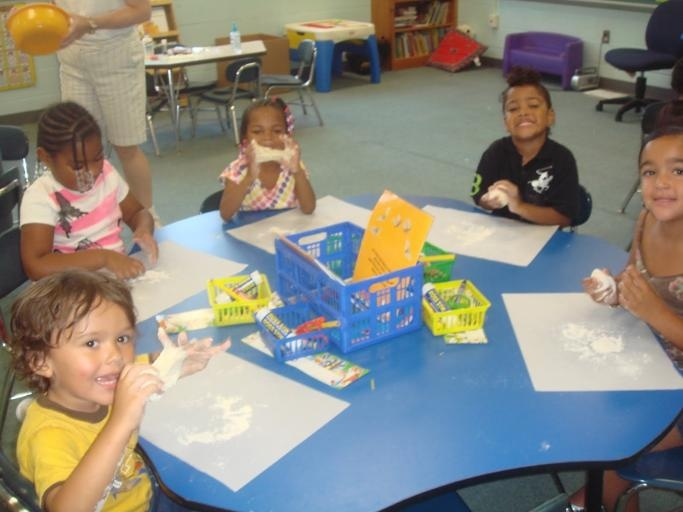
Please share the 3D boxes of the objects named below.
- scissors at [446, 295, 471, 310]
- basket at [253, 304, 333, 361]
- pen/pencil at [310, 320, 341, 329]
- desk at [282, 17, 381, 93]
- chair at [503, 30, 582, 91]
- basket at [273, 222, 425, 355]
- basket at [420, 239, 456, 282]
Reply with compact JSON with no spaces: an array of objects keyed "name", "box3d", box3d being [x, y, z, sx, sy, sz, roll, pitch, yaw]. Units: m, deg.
[{"name":"scissors","box3d":[0.334,0.129,1.627,0.040,0.020,0.050,-3,26,6]},{"name":"basket","box3d":[-0.139,0.162,1.500,0.136,0.058,0.172,-13,27,-24]},{"name":"pen/pencil","box3d":[-0.047,0.174,1.478,0.040,0.013,0.030,-3,10,9]},{"name":"desk","box3d":[-0.041,-2.538,7.445,1.039,0.609,1.057,-4,16,-6]},{"name":"chair","box3d":[2.542,-2.488,7.217,0.511,0.539,0.943,-24,37,-31]},{"name":"basket","box3d":[0.025,0.096,1.662,0.299,0.197,0.416,28,-26,-23]},{"name":"basket","box3d":[0.272,0.010,1.727,0.086,0.080,0.128,-9,19,-23]}]
